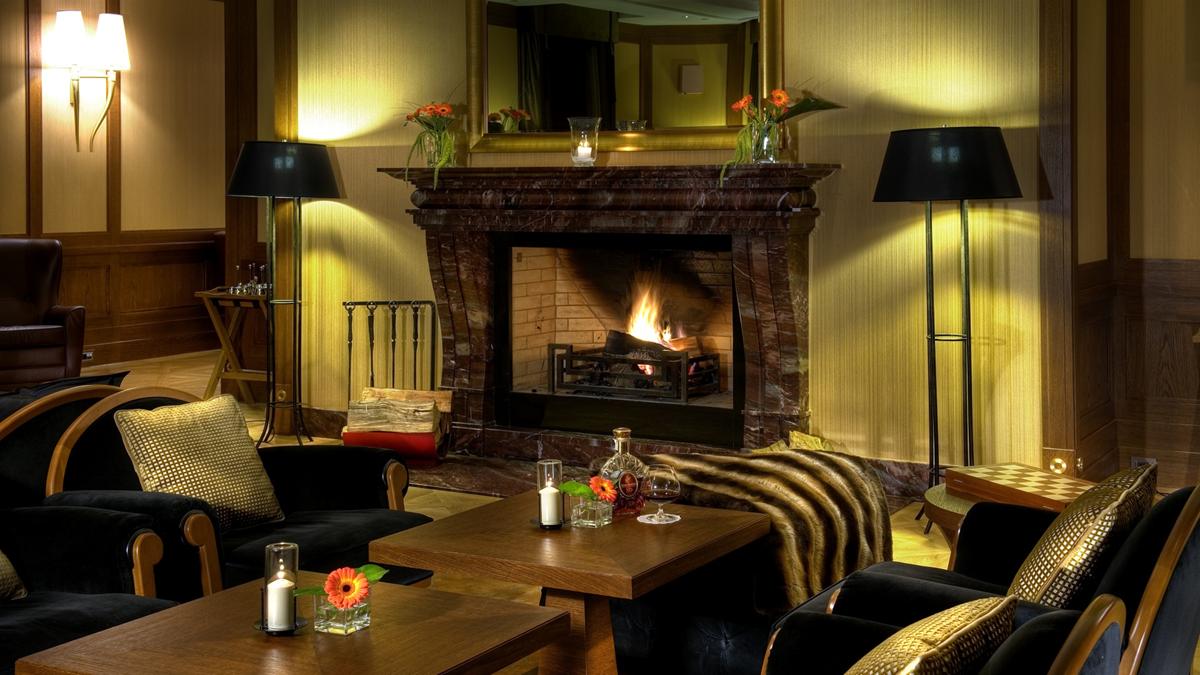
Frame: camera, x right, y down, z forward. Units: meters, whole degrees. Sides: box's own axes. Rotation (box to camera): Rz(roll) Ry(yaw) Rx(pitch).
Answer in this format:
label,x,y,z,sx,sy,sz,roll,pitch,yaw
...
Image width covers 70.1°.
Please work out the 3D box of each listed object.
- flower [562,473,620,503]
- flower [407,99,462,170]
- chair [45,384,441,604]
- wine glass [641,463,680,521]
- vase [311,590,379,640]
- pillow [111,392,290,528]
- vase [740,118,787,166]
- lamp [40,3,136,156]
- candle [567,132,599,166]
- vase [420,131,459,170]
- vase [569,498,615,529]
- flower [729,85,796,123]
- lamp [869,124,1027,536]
label,x,y,z,sx,sy,sz,roll,pitch,yaw
flower,-0.035,0.574,3.228,0.182,0.042,0.104,9,21,-9
flower,-1.223,-1.472,6.316,0.404,0.399,0.397,0,8,-18
chair,-1.565,0.621,3.682,1.028,0.688,1.099,-3,-3,29
wine glass,0.220,0.594,3.281,0.205,0.201,0.190,1,-3,-3
vase,-0.774,0.832,2.595,0.134,0.110,0.135,-1,-1,30
pillow,-1.691,0.513,3.635,0.156,0.525,0.602,-35,-15,31
vase,1.064,-1.269,5.714,0.314,0.317,0.315,0,1,23
lamp,-5.371,-2.682,9.025,0.784,1.405,0.505,-4,5,-27
candle,-0.098,-1.297,5.959,0.225,0.225,0.211,0,0,29
vase,-1.189,-1.366,6.267,0.260,0.281,0.212,-1,4,1
vase,-0.024,0.661,3.215,0.128,0.072,0.122,0,-1,-29
flower,1.072,-1.507,5.622,0.359,0.190,0.315,-1,1,-6
lamp,2.071,-0.187,5.085,0.735,2.133,0.778,1,5,26
